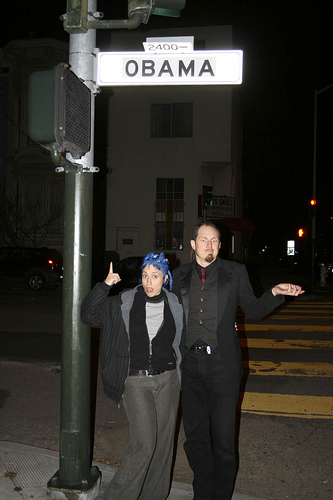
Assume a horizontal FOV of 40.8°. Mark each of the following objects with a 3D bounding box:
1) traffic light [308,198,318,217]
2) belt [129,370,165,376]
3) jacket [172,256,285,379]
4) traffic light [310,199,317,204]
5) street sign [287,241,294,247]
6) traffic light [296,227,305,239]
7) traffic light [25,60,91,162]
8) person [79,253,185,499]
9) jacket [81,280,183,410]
[{"bbox_3d":[8.479,-2.456,25.996,0.517,1.079,0.876,1,2,18],"label":"traffic light"},{"bbox_3d":[-0.122,0.763,2.773,0.216,0.038,0.034,0,1,-5],"label":"belt"},{"bbox_3d":[0.282,0.487,2.996,1.037,0.850,0.271,-1,8,-8],"label":"jacket"},{"bbox_3d":[8.501,-2.787,25.815,0.241,0.142,0.245,-7,-2,-18],"label":"traffic light"},{"bbox_3d":[13.906,-0.684,50.144,0.583,0.617,1.346,1,2,12],"label":"street sign"},{"bbox_3d":[9.197,-1.139,31.038,0.269,0.804,0.779,-1,10,20],"label":"traffic light"},{"bbox_3d":[-0.625,-0.805,2.638,0.232,0.465,0.467,3,2,7],"label":"traffic light"},{"bbox_3d":[-0.200,0.826,2.775,0.668,1.584,0.495,0,1,-11],"label":"person"},{"bbox_3d":[-0.178,0.572,2.939,0.770,0.802,0.448,5,-7,-30],"label":"jacket"}]
